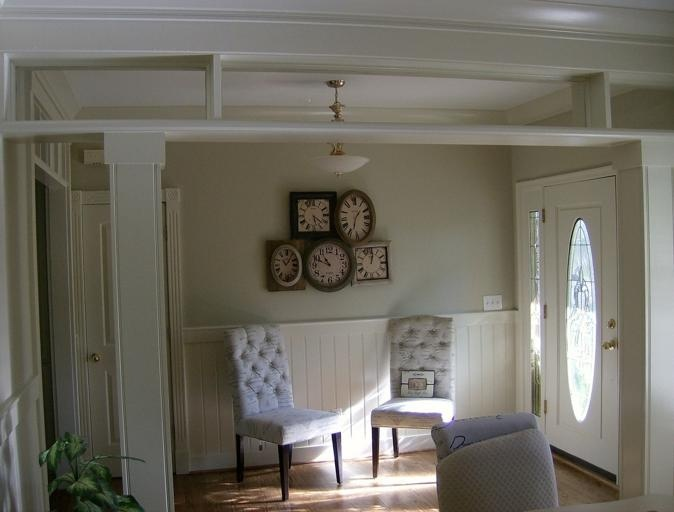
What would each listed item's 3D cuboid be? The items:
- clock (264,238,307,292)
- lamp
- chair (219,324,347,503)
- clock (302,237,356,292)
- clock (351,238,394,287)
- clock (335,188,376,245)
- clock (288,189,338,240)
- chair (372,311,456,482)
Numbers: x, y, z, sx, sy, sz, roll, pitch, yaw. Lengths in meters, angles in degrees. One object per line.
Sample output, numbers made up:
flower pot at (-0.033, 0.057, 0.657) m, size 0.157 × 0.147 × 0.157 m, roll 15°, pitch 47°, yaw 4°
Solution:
clock at (-0.423, 0.071, 4.761) m, size 0.367 × 0.537 × 0.150 m, roll 0°, pitch -3°, yaw -17°
lamp at (0.014, -0.952, 4.385) m, size 0.343 × 0.655 × 0.403 m, roll 7°, pitch 18°, yaw 35°
chair at (-0.387, 1.110, 4.416) m, size 0.759 × 1.151 × 0.583 m, roll 1°, pitch 5°, yaw 27°
clock at (-0.063, 0.067, 4.834) m, size 0.385 × 0.417 × 0.091 m, roll -23°, pitch 7°, yaw -18°
clock at (0.277, 0.056, 4.930) m, size 0.355 × 0.399 × 0.037 m, roll -1°, pitch 0°, yaw -18°
clock at (0.140, -0.313, 4.880) m, size 0.412 × 0.528 × 0.070 m, roll -1°, pitch -2°, yaw -21°
clock at (-0.184, -0.332, 4.834) m, size 0.378 × 0.422 × 0.032 m, roll -1°, pitch 27°, yaw 1°
chair at (0.598, 1.074, 4.635) m, size 0.604 × 1.131 × 0.649 m, roll -1°, pitch 4°, yaw 12°
